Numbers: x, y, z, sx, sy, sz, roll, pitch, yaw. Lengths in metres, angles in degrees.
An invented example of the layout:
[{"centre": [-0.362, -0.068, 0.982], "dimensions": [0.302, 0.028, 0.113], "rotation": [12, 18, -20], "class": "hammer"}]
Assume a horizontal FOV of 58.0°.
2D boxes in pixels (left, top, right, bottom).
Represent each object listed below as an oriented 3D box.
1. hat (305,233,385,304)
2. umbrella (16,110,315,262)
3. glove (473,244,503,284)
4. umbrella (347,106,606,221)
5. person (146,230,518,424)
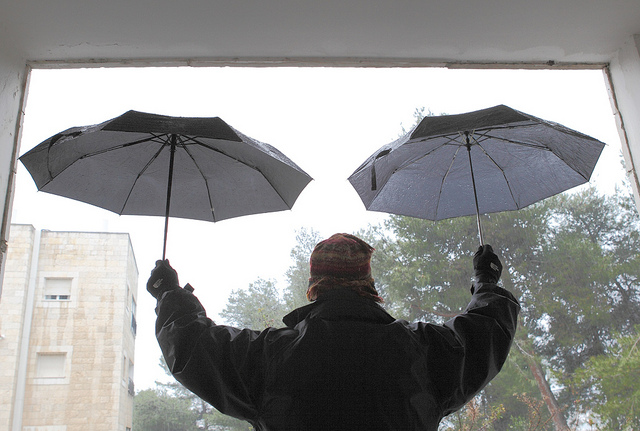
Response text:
[{"centre": [0.184, 0.394, 4.312], "dimensions": [0.589, 0.551, 0.492], "rotation": [-9, -21, 30], "class": "hat"}, {"centre": [-1.344, -0.377, 4.940], "dimensions": [1.491, 0.888, 1.520], "rotation": [-18, -31, 42], "class": "umbrella"}, {"centre": [1.291, 0.388, 4.464], "dimensions": [0.212, 0.327, 0.209], "rotation": [-5, -21, 6], "class": "glove"}, {"centre": [1.338, -0.353, 4.929], "dimensions": [2.024, 0.745, 1.089], "rotation": [-7, -22, 9], "class": "umbrella"}, {"centre": [0.120, 0.834, 4.201], "dimensions": [2.583, 1.359, 0.543], "rotation": [1, -21, -10], "class": "person"}]
